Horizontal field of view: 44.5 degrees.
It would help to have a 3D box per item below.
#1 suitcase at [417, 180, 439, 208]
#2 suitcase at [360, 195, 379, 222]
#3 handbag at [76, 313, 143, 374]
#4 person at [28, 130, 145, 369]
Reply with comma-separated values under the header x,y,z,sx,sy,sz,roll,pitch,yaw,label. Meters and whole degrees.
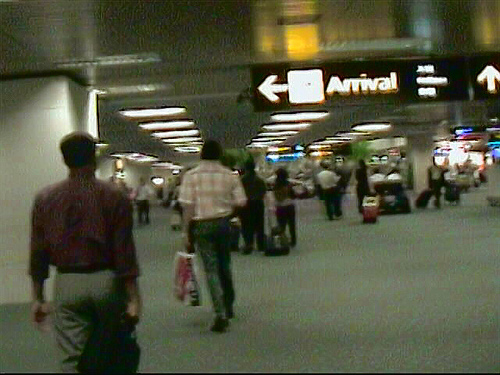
x,y,z,sx,sy,sz,roll,pitch,yaw,label
1.772,0.065,6.082,0.147,0.250,0.067,29,1,-24,suitcase
1.207,0.236,6.206,0.204,0.250,0.211,-2,-4,-30,suitcase
-1.027,1.101,4.336,0.434,0.415,0.102,7,3,-9,handbag
-1.222,0.446,4.402,0.773,1.651,0.354,-5,4,-9,person
